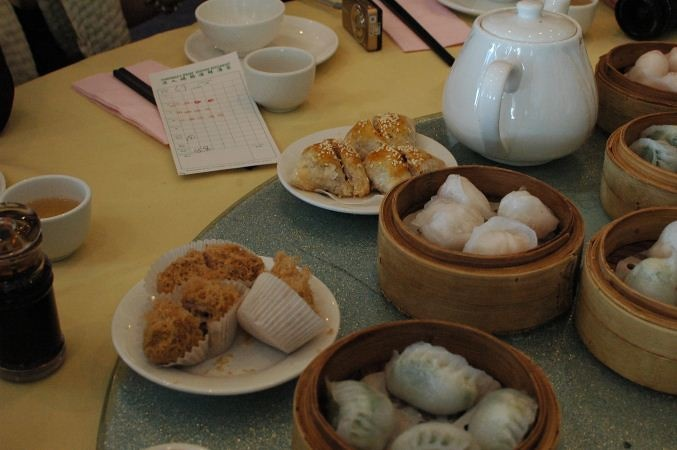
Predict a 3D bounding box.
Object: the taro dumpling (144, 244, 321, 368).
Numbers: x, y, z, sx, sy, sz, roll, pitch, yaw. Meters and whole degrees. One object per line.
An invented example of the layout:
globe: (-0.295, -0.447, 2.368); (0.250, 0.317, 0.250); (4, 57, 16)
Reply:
taro dumpling: (-0.172, 0.118, 0.798); (0.177, 0.076, 0.197); (34, 45, 30)

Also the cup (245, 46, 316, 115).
cup: (-0.143, -0.347, 1.286); (0.164, 0.113, 0.170); (3, 37, -3)

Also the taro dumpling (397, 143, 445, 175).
taro dumpling: (0.159, -0.131, 1.026); (0.070, 0.024, 0.064); (-5, 41, -37)

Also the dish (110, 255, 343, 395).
dish: (-0.171, 0.135, 0.721); (0.189, 0.035, 0.202); (1, 36, -13)

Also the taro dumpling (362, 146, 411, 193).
taro dumpling: (0.094, -0.111, 1.022); (0.069, 0.033, 0.095); (-25, 58, -3)

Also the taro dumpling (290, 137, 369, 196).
taro dumpling: (-0.014, -0.118, 1.047); (0.151, 0.072, 0.133); (-5, 51, 3)

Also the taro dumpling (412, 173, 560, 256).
taro dumpling: (0.216, -0.055, 0.790); (0.140, 0.048, 0.151); (25, 48, 28)

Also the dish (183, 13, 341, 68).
dish: (-0.207, -0.485, 1.406); (0.188, 0.022, 0.188); (-33, 53, -31)

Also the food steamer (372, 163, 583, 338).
food steamer: (0.239, 0.046, 0.928); (0.334, 0.144, 0.356); (-6, 22, -1)

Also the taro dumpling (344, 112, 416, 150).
taro dumpling: (0.087, -0.195, 1.105); (0.102, 0.039, 0.090); (-16, 40, -11)
